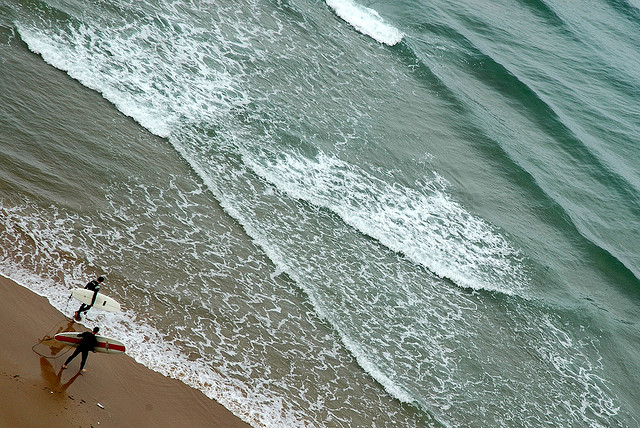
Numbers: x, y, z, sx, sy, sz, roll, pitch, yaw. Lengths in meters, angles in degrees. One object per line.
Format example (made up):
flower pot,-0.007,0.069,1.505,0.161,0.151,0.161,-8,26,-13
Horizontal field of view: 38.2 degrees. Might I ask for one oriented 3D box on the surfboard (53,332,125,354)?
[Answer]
surfboard,-12.389,6.966,49.800,5.100,0.979,2.132,2,14,-9
